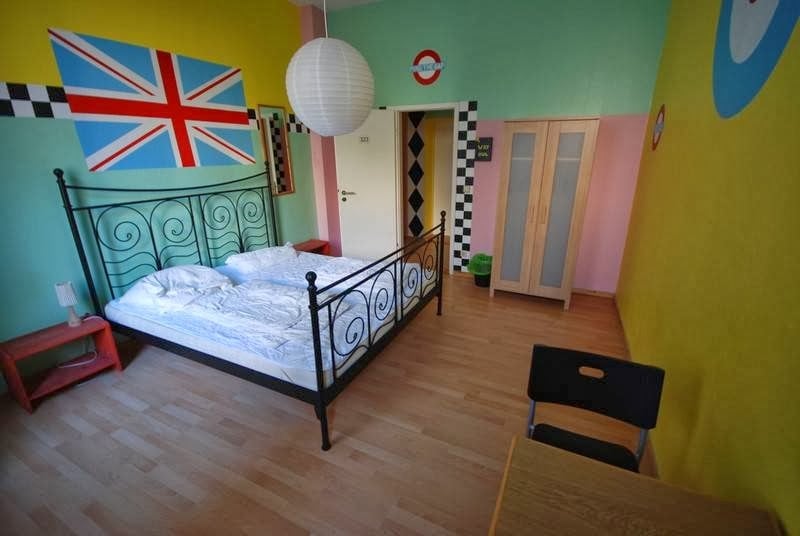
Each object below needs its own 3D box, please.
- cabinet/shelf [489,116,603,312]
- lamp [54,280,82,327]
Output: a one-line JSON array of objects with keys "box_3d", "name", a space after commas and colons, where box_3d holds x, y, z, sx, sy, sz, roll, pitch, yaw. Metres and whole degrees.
[{"box_3d": [1.493, -0.560, 5.232, 0.917, 1.917, 0.227, 8, 22, 27], "name": "cabinet/shelf"}, {"box_3d": [-2.845, 0.292, 4.230, 0.120, 0.392, 0.299, -17, 24, -35], "name": "lamp"}]
